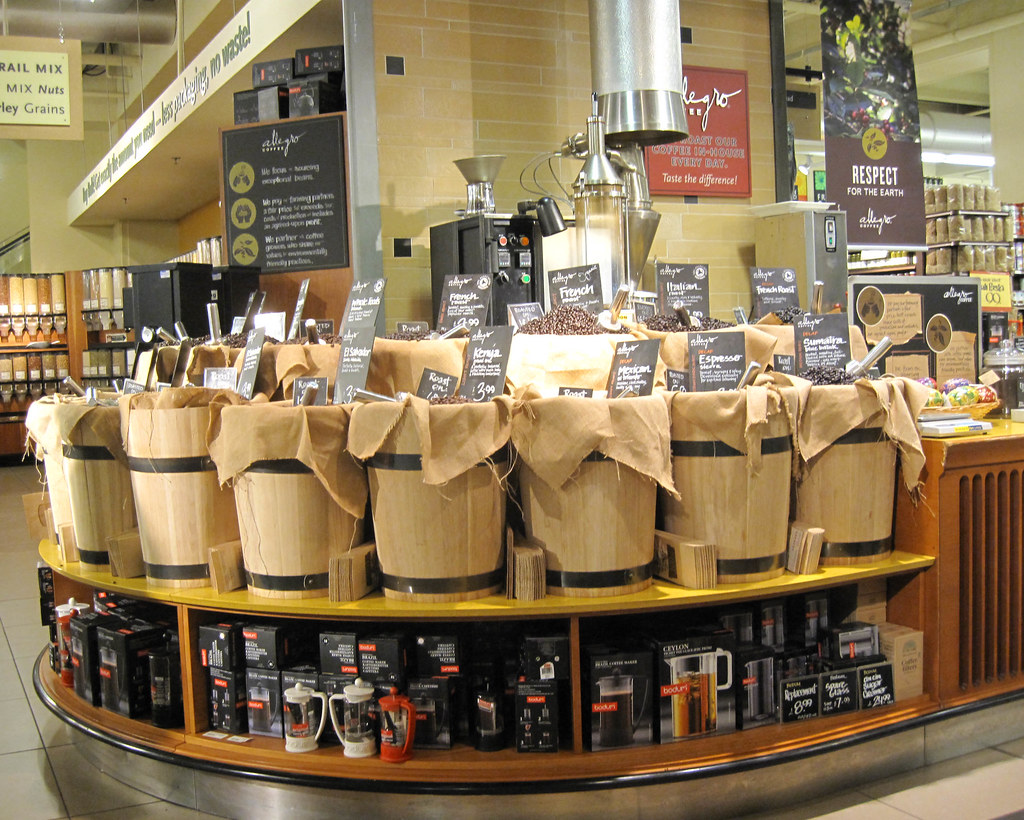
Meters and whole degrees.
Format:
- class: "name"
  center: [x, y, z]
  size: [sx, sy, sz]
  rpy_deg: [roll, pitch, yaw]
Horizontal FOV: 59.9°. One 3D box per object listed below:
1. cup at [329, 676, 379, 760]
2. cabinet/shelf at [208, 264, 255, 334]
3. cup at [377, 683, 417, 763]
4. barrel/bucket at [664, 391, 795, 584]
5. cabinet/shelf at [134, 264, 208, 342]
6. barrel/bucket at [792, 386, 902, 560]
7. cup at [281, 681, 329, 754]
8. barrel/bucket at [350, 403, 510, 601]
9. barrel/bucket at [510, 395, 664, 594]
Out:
- class: "cup"
  center: [-0.524, 1.018, 2.941]
  size: [0.169, 0.223, 0.137]
  rpy_deg: [-5, 5, -1]
- class: "cabinet/shelf"
  center: [-1.837, -0.731, 5.791]
  size: [0.353, 0.437, 0.420]
  rpy_deg: [-4, 5, 4]
- class: "cup"
  center: [-0.365, 1.024, 2.870]
  size: [0.116, 0.198, 0.069]
  rpy_deg: [-5, 5, 1]
- class: "barrel/bucket"
  center: [0.739, 0.233, 2.939]
  size: [0.540, 0.632, 0.515]
  rpy_deg: [-2, 2, 0]
- class: "cabinet/shelf"
  center: [-2.266, -0.738, 5.957]
  size: [0.531, 0.500, 0.351]
  rpy_deg: [-6, 5, -13]
- class: "barrel/bucket"
  center: [1.117, 0.269, 3.305]
  size: [0.425, 0.526, 0.471]
  rpy_deg: [0, -1, -4]
- class: "cup"
  center: [-0.688, 1.033, 2.975]
  size: [0.207, 0.234, 0.138]
  rpy_deg: [2, -3, -15]
- class: "barrel/bucket"
  center: [-0.248, 0.258, 3.048]
  size: [0.539, 0.626, 0.595]
  rpy_deg: [2, 3, 35]
- class: "barrel/bucket"
  center: [0.251, 0.276, 3.026]
  size: [0.572, 0.586, 0.569]
  rpy_deg: [-1, 3, 0]
